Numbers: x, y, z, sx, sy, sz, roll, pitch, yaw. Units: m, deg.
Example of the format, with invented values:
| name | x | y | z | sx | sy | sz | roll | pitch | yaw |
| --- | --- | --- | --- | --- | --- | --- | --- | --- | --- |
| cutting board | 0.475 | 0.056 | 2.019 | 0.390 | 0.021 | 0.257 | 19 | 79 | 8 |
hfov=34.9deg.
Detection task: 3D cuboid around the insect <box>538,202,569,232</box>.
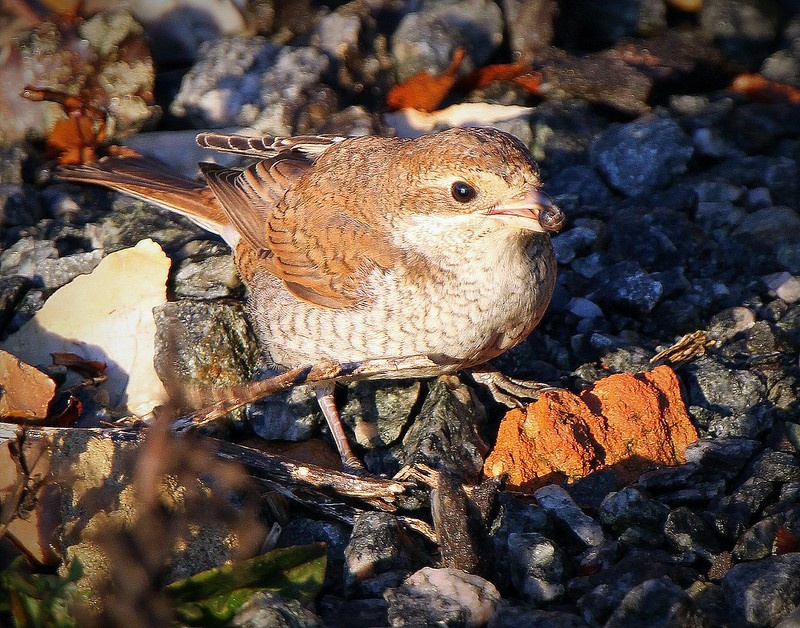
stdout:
| name | x | y | z | sx | sy | sz | roll | pitch | yaw |
| --- | --- | --- | --- | --- | --- | --- | --- | --- | --- |
| insect | 0.821 | -0.546 | 7.106 | 0.144 | 0.173 | 0.089 | -43 | 12 | 4 |
